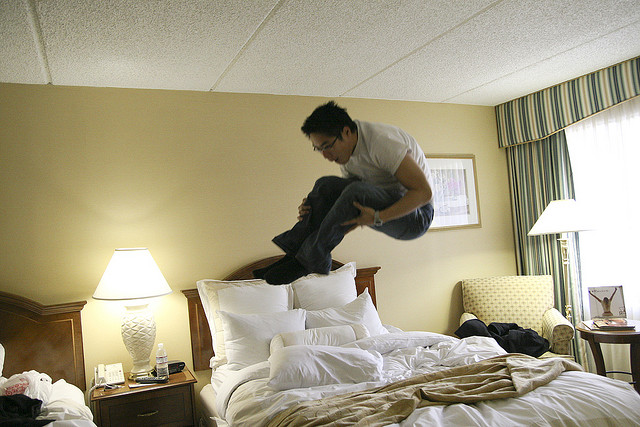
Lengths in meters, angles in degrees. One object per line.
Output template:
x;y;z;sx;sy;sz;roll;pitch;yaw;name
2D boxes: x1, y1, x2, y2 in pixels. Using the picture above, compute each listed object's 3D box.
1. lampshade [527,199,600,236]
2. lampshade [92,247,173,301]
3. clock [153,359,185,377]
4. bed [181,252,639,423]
2.601;0.071;4.828;0.456;0.200;0.451;-4;1;6;lampshade
-1.675;0.539;3.998;0.550;0.301;0.495;-4;-3;-44;lampshade
-1.372;1.413;4.040;0.180;0.060;0.172;-1;2;-8;clock
0.775;1.114;3.996;1.636;0.795;2.098;1;-7;-28;bed
